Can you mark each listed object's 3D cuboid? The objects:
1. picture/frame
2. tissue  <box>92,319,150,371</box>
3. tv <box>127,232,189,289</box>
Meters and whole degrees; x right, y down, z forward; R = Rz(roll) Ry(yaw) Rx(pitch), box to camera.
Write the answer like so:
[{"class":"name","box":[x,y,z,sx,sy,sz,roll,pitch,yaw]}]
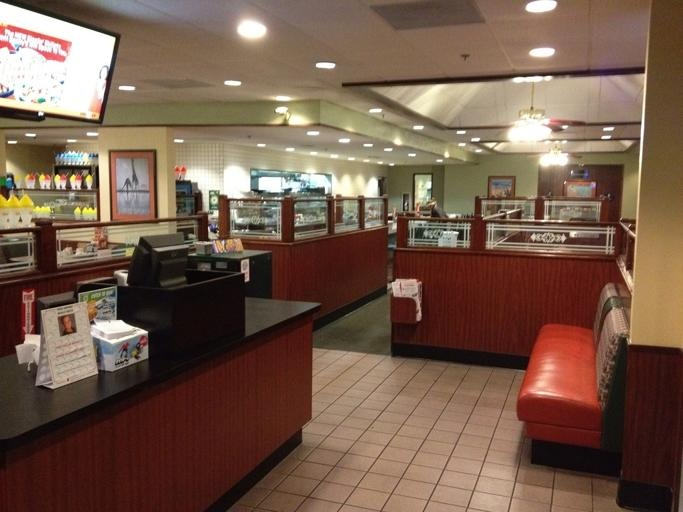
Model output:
[{"class":"picture/frame","box":[-3.710,-1.276,8.480,1.110,1.230,0.170,4,8,23]},{"class":"tissue ","box":[-1.253,0.470,2.736,0.245,0.267,0.265,7,9,32]},{"class":"tv","box":[-1.173,0.037,3.062,0.205,0.385,0.407,8,10,41]}]
